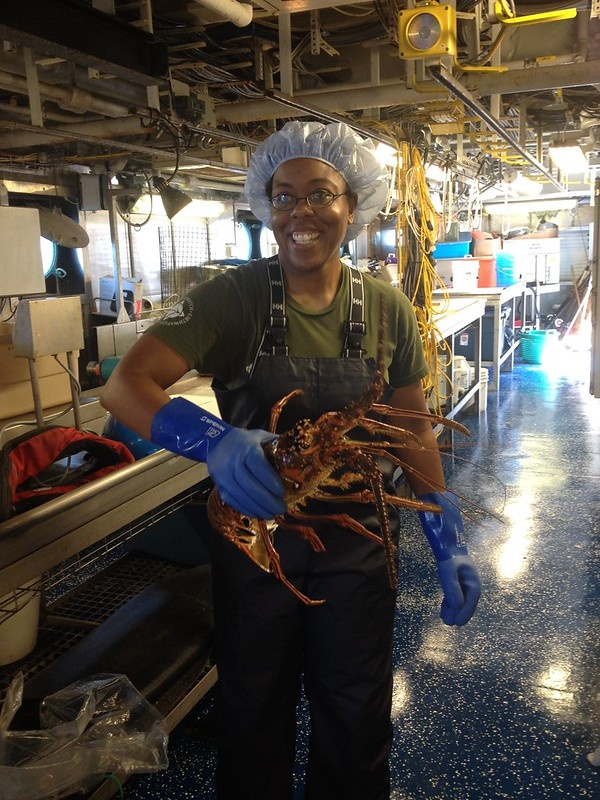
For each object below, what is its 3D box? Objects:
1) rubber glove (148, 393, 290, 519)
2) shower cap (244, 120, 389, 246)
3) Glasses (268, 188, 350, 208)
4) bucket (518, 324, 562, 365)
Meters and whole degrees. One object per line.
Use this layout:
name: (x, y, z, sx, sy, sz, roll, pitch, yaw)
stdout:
rubber glove: (-0.132, 0.083, 0.977, 0.071, 0.132, 0.233, 25, -2, -32)
shower cap: (0.056, -0.516, 1.347, 0.332, 0.104, 0.353, 11, -22, 4)
Glasses: (0.016, -0.375, 1.137, 0.137, 0.038, 0.066, -2, 12, -1)
bucket: (3.457, -0.815, 8.777, 0.581, 0.561, 0.646, -4, 7, -24)
